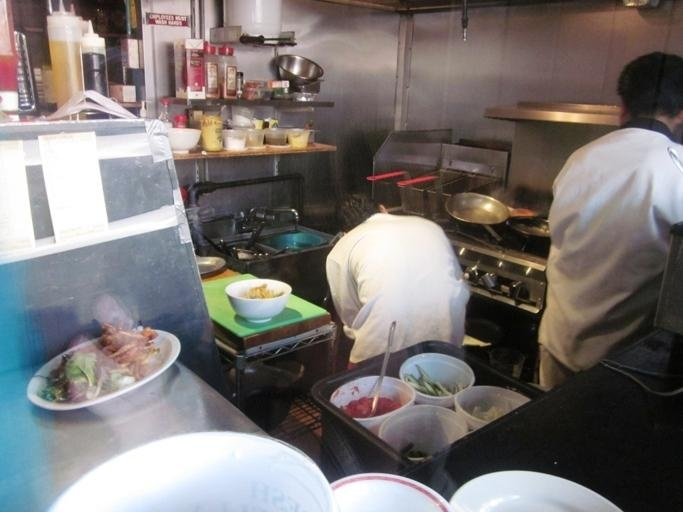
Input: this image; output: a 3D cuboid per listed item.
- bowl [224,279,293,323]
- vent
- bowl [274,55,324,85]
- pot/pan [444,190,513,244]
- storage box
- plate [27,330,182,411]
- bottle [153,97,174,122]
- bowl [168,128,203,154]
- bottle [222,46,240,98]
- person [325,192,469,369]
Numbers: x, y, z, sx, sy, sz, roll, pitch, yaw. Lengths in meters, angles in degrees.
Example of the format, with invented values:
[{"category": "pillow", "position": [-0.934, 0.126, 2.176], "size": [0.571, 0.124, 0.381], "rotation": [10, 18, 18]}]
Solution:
[{"category": "bowl", "position": [-0.293, 0.184, 1.786], "size": [0.224, 0.098, 0.226], "rotation": [1, 0, 0]}, {"category": "vent", "position": [1.223, -0.807, 2.831], "size": [0.469, 0.081, 0.418], "rotation": [7, 12, 29]}, {"category": "bowl", "position": [-0.284, -1.239, 3.310], "size": [0.313, 0.190, 0.305], "rotation": [0, 21, 0]}, {"category": "pot/pan", "position": [0.730, -0.223, 2.415], "size": [0.435, 0.073, 0.264], "rotation": [-10, 39, -13]}, {"category": "storage box", "position": [0.162, 0.360, 1.214], "size": [0.399, 0.130, 0.294], "rotation": [-9, 22, -38]}, {"category": "plate", "position": [-0.485, 0.238, 1.048], "size": [0.306, 0.057, 0.171], "rotation": [-16, 26, -34]}, {"category": "bottle", "position": [-1.026, -0.855, 2.904], "size": [0.092, 0.127, 0.170], "rotation": [-9, 23, -20]}, {"category": "bowl", "position": [-0.832, -0.619, 2.648], "size": [0.159, 0.100, 0.157], "rotation": [1, 14, 0]}, {"category": "bottle", "position": [-0.647, -1.048, 2.848], "size": [0.090, 0.276, 0.154], "rotation": [-4, 22, -9]}, {"category": "person", "position": [0.236, 0.186, 2.054], "size": [0.529, 0.748, 0.562], "rotation": [-6, 17, 2]}]
